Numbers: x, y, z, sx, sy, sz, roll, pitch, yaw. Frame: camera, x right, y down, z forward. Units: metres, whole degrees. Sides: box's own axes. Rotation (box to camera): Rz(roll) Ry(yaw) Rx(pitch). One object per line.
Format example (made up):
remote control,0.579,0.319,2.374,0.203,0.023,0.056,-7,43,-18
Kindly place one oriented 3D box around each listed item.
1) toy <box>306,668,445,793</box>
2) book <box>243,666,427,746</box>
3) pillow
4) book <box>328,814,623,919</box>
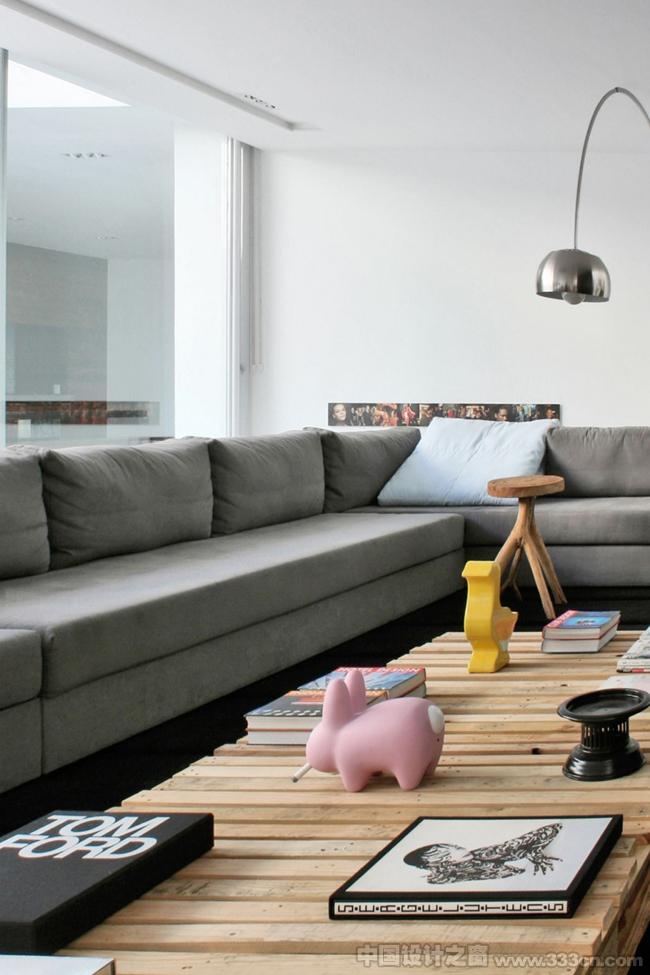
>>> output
toy,0.067,0.330,1.137,0.182,0.154,0.114,-6,-13,21
book,0.009,0.363,1.423,0.150,0.041,0.286,-6,3,21
pillow,0.775,-0.118,4.640,0.626,0.172,0.665,1,36,26
book,0.148,0.338,0.741,0.199,0.034,0.268,-2,-3,25
